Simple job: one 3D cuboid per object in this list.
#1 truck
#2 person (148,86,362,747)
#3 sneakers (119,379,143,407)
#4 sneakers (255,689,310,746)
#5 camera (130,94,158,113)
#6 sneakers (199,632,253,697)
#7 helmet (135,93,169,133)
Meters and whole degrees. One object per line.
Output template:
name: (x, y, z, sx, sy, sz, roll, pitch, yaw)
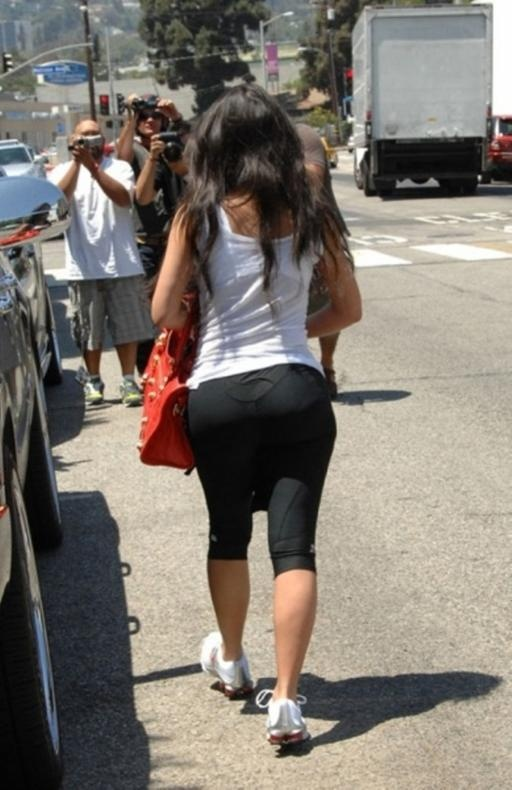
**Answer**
truck: (5.333, -9.099, 24.411, 4.235, 5.834, 7.662, -2, 12, 1)
person: (0.007, 0.066, 1.991, 0.464, 1.628, 0.466, 0, 9, 10)
sneakers: (-0.975, -0.012, 6.084, 0.113, 0.128, 0.272, -5, 15, -20)
sneakers: (0.080, 0.765, 1.894, 0.089, 0.095, 0.213, -1, 3, -1)
camera: (-0.802, -2.085, 5.563, 0.126, 0.083, 0.173, -7, 6, -12)
sneakers: (-0.086, 0.757, 2.212, 0.098, 0.108, 0.219, -6, 32, -13)
helmet: (-0.732, -2.014, 5.606, 0.213, 0.318, 0.265, 3, 3, -2)
